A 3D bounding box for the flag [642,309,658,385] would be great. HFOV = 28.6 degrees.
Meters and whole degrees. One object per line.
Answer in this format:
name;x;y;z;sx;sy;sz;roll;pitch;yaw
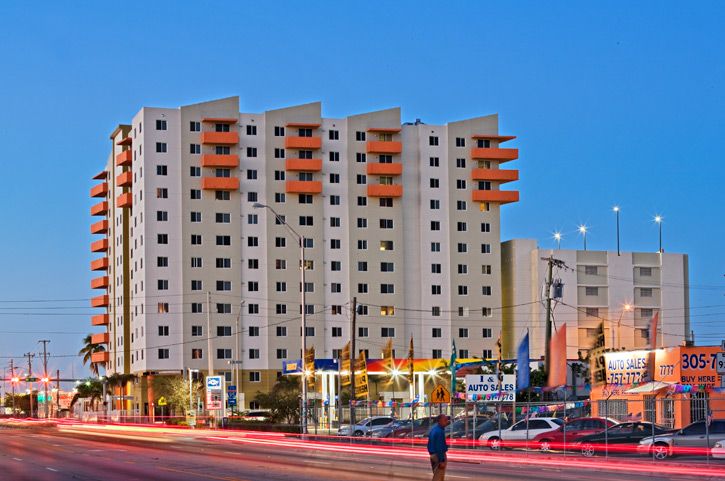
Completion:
flag;25.869;9.763;128.546;1.286;5.851;1.864;-3;-10;10
